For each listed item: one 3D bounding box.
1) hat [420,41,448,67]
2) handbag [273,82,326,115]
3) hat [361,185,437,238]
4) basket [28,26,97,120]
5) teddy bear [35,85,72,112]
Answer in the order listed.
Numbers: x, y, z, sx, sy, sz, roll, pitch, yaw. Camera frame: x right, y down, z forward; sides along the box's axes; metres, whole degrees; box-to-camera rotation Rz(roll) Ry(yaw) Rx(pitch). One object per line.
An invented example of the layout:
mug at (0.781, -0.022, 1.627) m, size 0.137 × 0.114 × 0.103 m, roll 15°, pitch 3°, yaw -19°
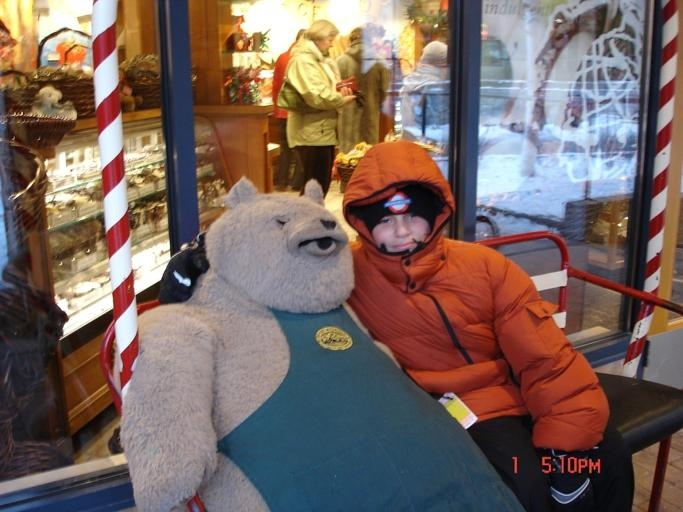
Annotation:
hat at (0.562, -1.220, 3.030) m, size 0.125 × 0.144 × 0.168 m, roll -5°, pitch -1°, yaw -20°
handbag at (-0.320, -1.038, 3.305) m, size 0.210 × 0.108 × 0.152 m, roll 11°, pitch -4°, yaw -34°
hat at (0.217, -0.185, 1.905) m, size 0.220 × 0.170 × 0.166 m, roll -13°, pitch 12°, yaw -15°
basket at (-1.178, -0.868, 2.345) m, size 0.287 × 0.370 × 0.370 m, roll -1°, pitch 11°, yaw -12°
teddy bear at (-1.271, -0.693, 2.180) m, size 0.105 × 0.106 × 0.043 m, roll -10°, pitch 23°, yaw -43°
